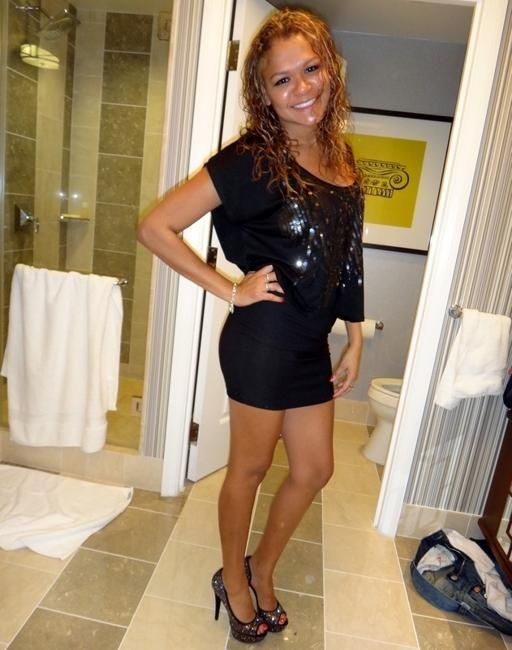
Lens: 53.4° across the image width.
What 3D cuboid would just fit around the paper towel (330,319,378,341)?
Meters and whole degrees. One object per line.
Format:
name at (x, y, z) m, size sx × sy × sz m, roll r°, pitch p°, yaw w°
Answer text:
paper towel at (0.644, 0.032, 3.179) m, size 0.265 × 0.076 × 0.153 m, roll 0°, pitch 33°, yaw 5°

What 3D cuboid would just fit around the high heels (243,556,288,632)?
high heels at (0.004, 0.764, 1.525) m, size 0.073 × 0.053 × 0.270 m, roll 12°, pitch 36°, yaw -39°

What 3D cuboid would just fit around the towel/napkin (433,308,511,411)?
towel/napkin at (0.805, 0.125, 1.854) m, size 0.294 × 0.316 × 0.113 m, roll 11°, pitch 5°, yaw 13°

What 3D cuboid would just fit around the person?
person at (0.023, 0.066, 1.320) m, size 0.591 × 1.661 × 0.338 m, roll 0°, pitch 10°, yaw -35°
